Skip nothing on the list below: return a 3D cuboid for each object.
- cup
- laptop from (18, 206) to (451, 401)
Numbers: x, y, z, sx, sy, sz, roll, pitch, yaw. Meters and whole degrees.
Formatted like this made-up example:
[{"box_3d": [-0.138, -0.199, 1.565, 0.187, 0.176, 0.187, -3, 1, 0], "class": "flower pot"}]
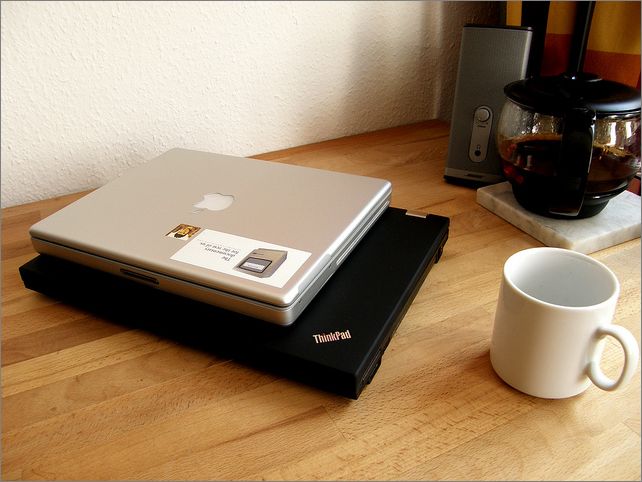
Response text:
[{"box_3d": [0.281, 0.100, 0.545, 0.110, 0.121, 0.153, -20, 39, -14], "class": "cup"}, {"box_3d": [0.012, 0.064, 0.637, 0.292, 0.053, 0.366, 16, 35, 28], "class": "laptop"}]
